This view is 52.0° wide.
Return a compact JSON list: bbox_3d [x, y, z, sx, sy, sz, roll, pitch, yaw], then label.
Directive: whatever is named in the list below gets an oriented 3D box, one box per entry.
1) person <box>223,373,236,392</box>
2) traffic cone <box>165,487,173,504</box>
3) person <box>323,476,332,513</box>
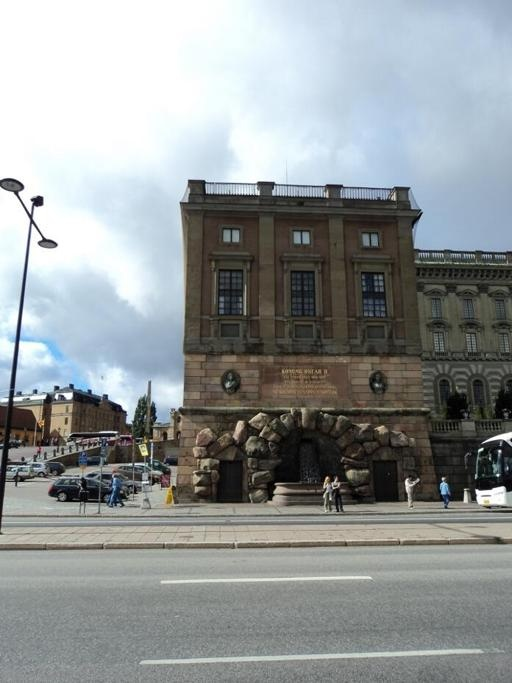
[{"bbox_3d":[-1.484,2.372,30.274,1.016,1.451,0.284,-1,-5,4],"label":"person"},{"bbox_3d":[-4.659,8.293,28.330,0.393,0.848,1.357,2,-12,-9],"label":"traffic cone"},{"bbox_3d":[3.305,6.995,24.119,0.368,1.496,0.769,-2,-13,8],"label":"person"}]
